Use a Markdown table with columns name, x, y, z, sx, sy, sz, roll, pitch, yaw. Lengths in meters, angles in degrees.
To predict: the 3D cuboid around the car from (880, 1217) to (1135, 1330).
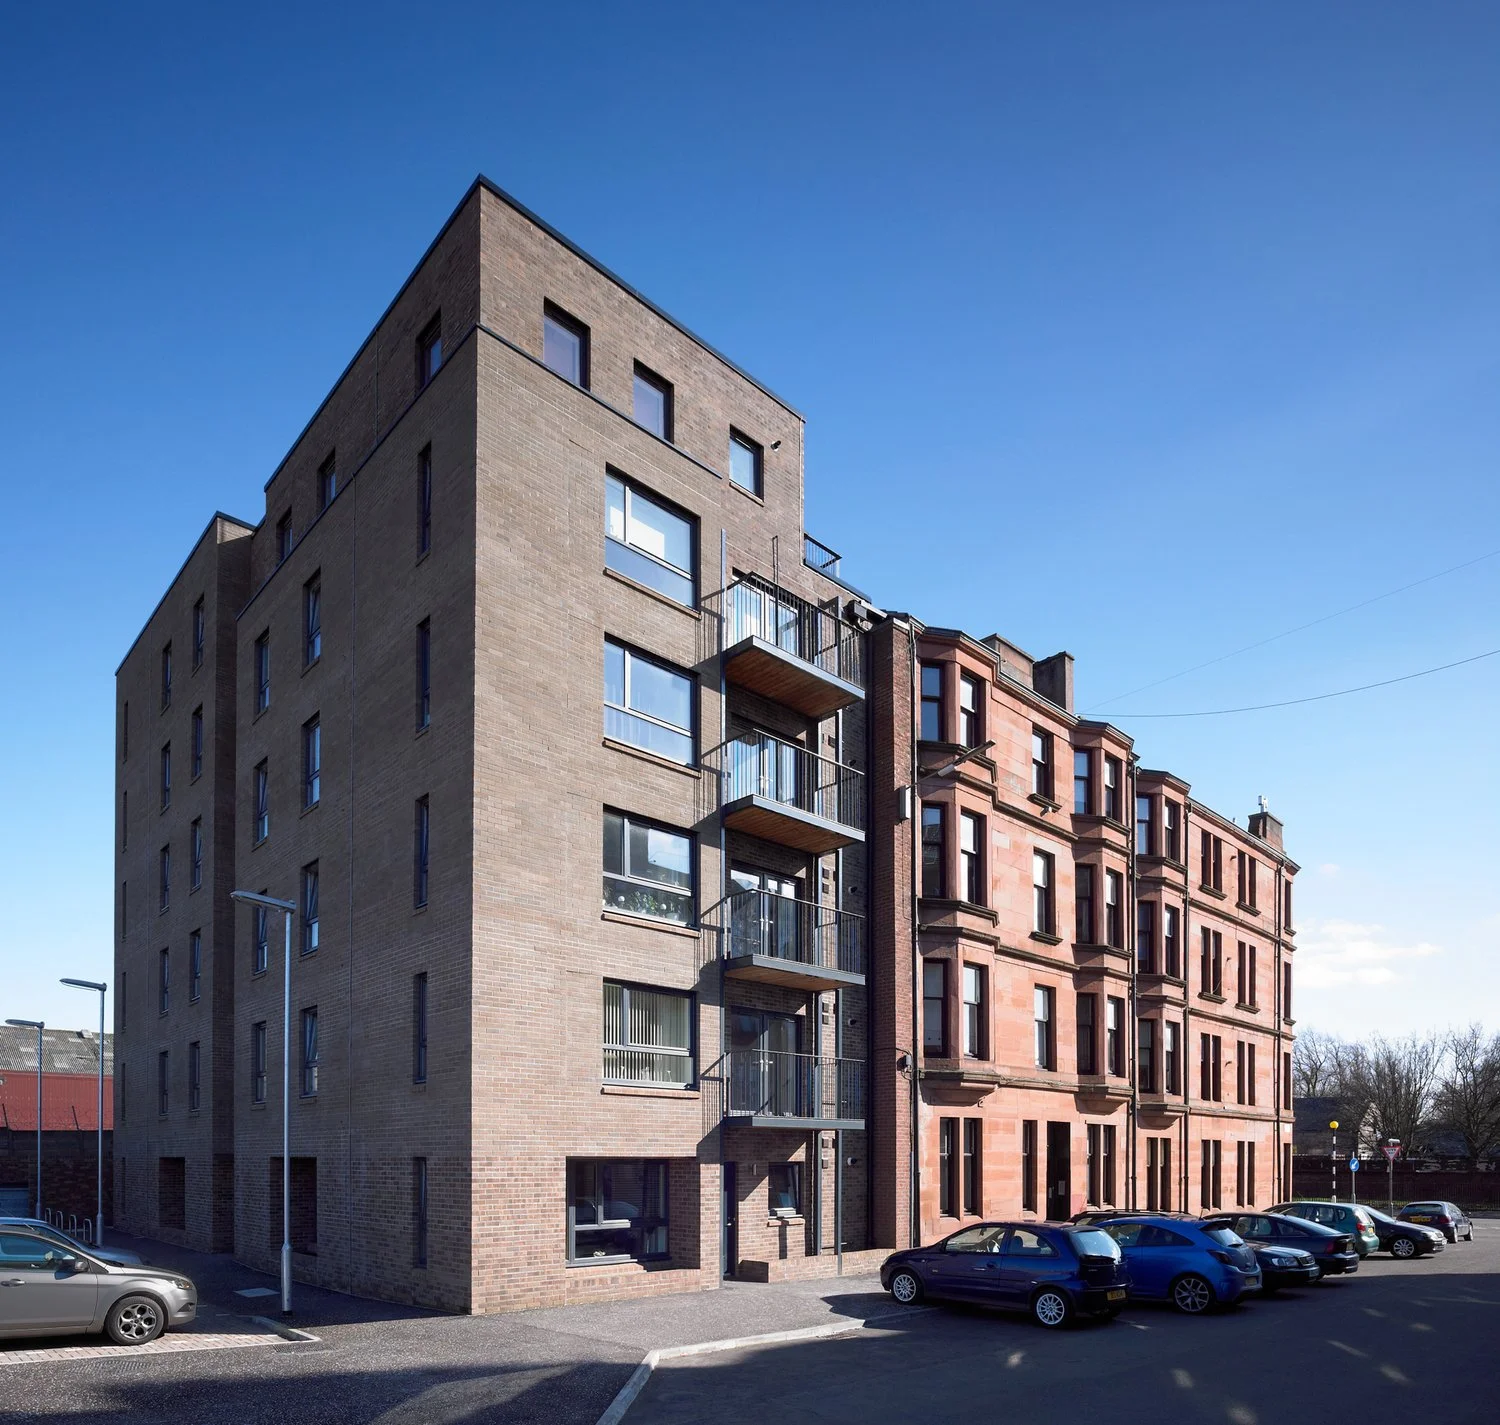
| name | x | y | z | sx | sy | sz | roll | pitch | yaw |
| --- | --- | --- | --- | --- | --- | --- | --- | --- | --- |
| car | 4.368 | 9.277 | 30.703 | 2.877 | 1.312 | 1.689 | -3 | -15 | 33 |
